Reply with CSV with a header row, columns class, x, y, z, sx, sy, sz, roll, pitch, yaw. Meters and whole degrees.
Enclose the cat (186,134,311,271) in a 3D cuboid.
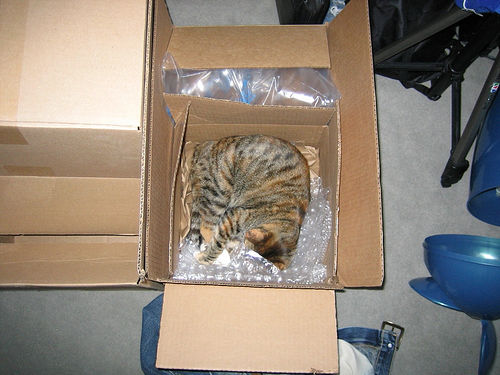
class,x,y,z,sx,sy,sz,roll,pitch,yaw
cat,-0.020,0.081,2.611,0.799,0.259,1.231,-10,49,-2
